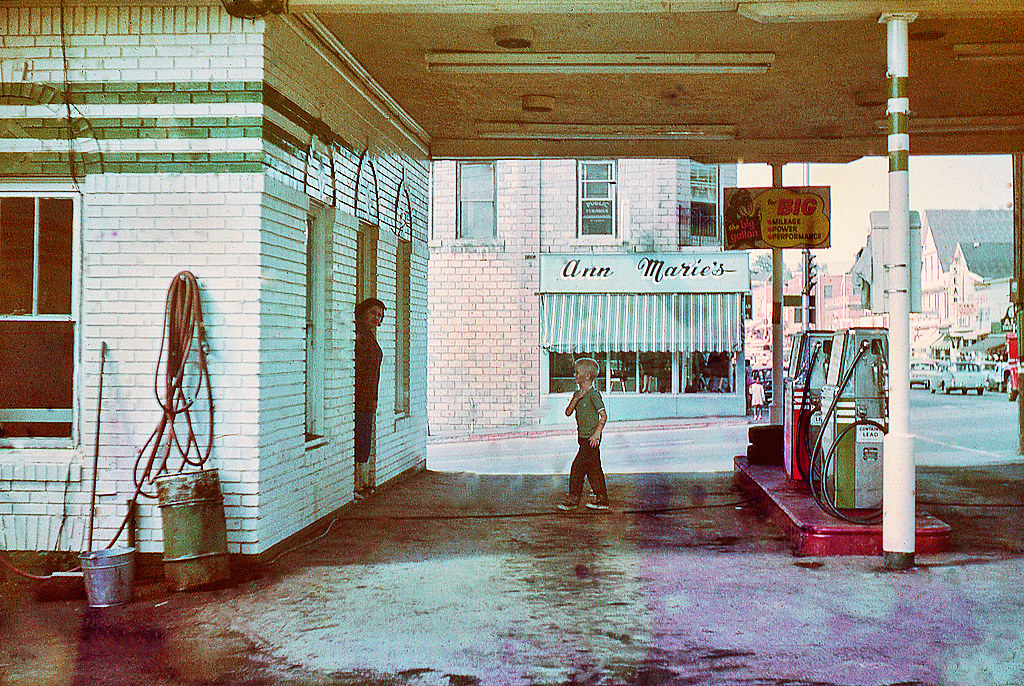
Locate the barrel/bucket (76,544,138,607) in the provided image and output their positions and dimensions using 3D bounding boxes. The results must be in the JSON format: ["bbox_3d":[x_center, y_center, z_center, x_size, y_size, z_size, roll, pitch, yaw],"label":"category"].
[{"bbox_3d":[-3.955,2.279,10.512,0.483,0.511,0.298,-4,9,-24],"label":"barrel/bucket"}]

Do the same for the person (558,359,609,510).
[{"bbox_3d":[0.964,1.171,13.990,0.730,1.828,0.544,0,0,-22],"label":"person"}]

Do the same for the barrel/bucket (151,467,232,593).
[{"bbox_3d":[-3.209,1.861,10.790,0.644,1.152,0.297,-4,9,-20],"label":"barrel/bucket"}]

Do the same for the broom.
[{"bbox_3d":[-4.492,1.289,10.821,0.792,2.432,1.088,-2,9,-13],"label":"broom"}]

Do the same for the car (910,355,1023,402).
[{"bbox_3d":[18.629,1.427,44.642,3.107,2.100,6.879,0,9,4],"label":"car"}]

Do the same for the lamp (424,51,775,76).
[{"bbox_3d":[1.089,-3.495,13.442,4.236,0.249,0.734,0,9,1],"label":"lamp"}]

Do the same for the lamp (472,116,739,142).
[{"bbox_3d":[1.453,-3.219,16.384,3.887,0.277,0.870,-1,9,-3],"label":"lamp"}]
